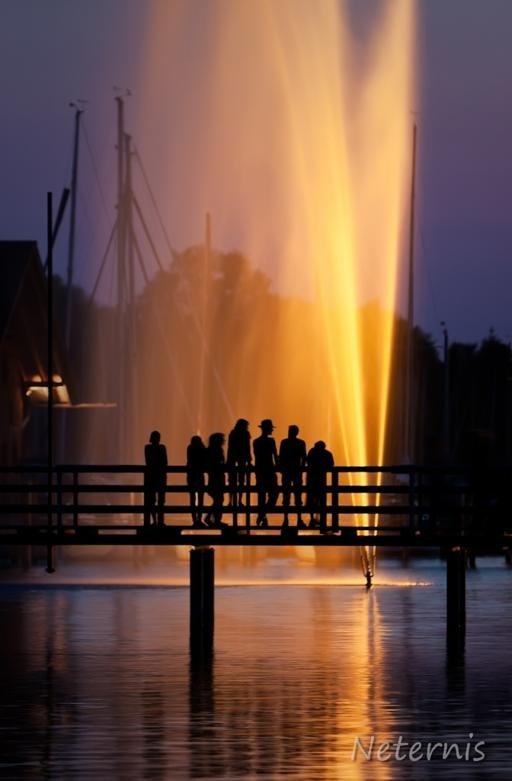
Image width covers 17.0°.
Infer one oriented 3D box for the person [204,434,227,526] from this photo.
[{"bbox_3d":[-0.551,1.198,22.940,0.262,1.281,0.770,0,-6,-1],"label":"person"}]
